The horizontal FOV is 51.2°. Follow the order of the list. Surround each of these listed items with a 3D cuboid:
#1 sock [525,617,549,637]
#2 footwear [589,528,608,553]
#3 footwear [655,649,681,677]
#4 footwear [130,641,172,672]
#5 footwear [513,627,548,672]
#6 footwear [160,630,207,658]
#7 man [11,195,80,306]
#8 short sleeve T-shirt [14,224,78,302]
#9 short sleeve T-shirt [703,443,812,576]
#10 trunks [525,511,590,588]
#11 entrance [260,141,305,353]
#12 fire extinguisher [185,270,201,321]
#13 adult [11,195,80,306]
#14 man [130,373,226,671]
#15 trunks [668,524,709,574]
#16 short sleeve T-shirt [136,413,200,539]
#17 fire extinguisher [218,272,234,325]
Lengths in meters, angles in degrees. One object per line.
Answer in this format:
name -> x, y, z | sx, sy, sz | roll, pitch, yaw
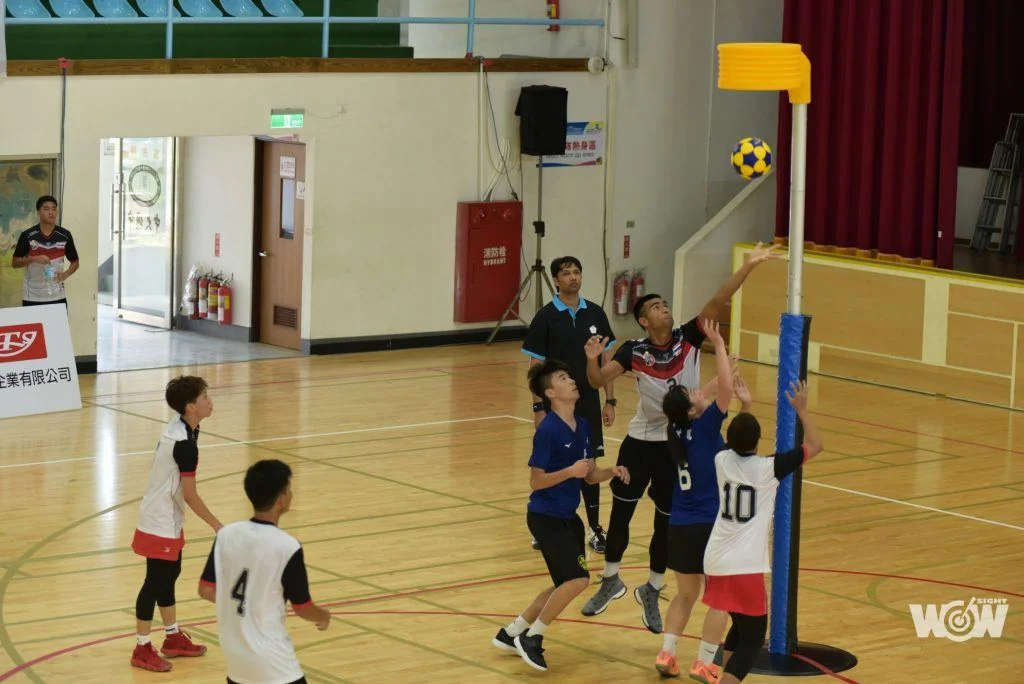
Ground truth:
sock -> 0.141, 1.806, 6.861 | 0.110, 0.127, 0.136 | -9, 15, -42
footwear -> 0.694, 1.622, 8.901 | 0.102, 0.106, 0.234 | -2, 5, -13
footwear -> 0.976, 2.021, 6.798 | 0.100, 0.120, 0.264 | 2, 0, 17
footwear -> -2.328, 1.976, 6.893 | 0.319, 0.156, 0.128 | 8, 12, 27
footwear -> 0.105, 1.960, 6.905 | 0.226, 0.281, 0.230 | 1, 11, 0
footwear -> -2.169, 1.965, 7.064 | 0.303, 0.181, 0.140 | 0, 6, -4
man -> -5.757, -1.106, 13.136 | 0.729, 1.307, 0.507 | -4, 12, -24
short sleeve T-shirt -> -5.840, -0.984, 13.252 | 0.924, 1.045, 0.432 | -5, 12, -37
short sleeve T-shirt -> 1.393, 0.995, 6.297 | 0.557, 0.728, 0.350 | -3, 12, -19
trunks -> 0.283, 1.313, 6.887 | 0.366, 0.440, 0.335 | 0, 11, -6
entrance -> -3.647, -1.504, 16.714 | 0.384, 3.146, 1.152 | -7, 14, -37
fire extinguisher -> -5.301, -0.820, 17.594 | 0.357, 0.850, 0.155 | 10, 14, 38
adult -> -5.757, -1.106, 13.136 | 0.729, 1.307, 0.507 | -4, 12, -24
man -> -2.434, 1.343, 7.753 | 0.869, 2.356, 0.866 | -1, 28, -17
trunks -> 1.106, 1.287, 6.730 | 0.177, 0.300, 0.286 | -3, 9, -24
short sleeve T-shirt -> -2.203, 0.833, 6.788 | 0.380, 0.761, 0.363 | -2, 11, -14
fire extinguisher -> -4.686, -0.672, 17.314 | 0.195, 0.750, 0.297 | -9, 15, -43
